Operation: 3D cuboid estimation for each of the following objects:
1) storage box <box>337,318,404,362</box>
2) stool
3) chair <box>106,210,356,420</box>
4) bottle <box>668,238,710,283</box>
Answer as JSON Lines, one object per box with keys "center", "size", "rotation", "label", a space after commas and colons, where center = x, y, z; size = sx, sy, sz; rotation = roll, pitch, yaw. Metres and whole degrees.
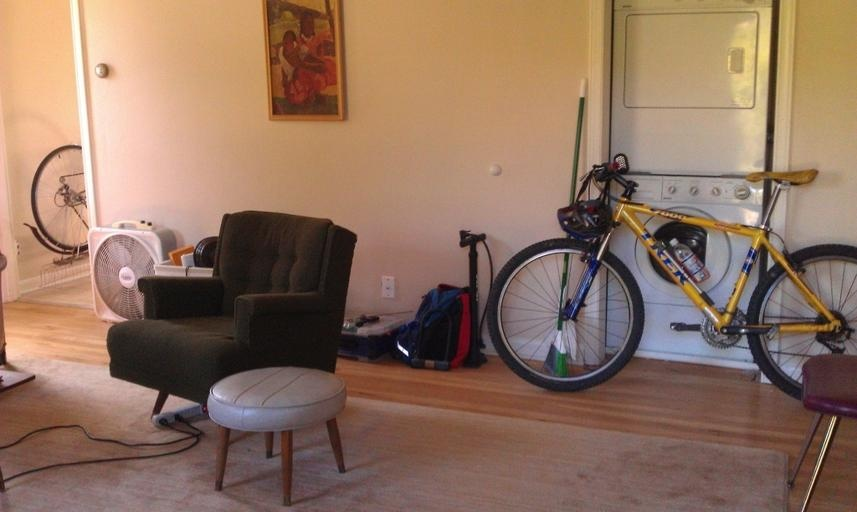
{"center": [-0.472, 0.615, 4.796], "size": [0.350, 0.105, 0.348], "rotation": [4, 9, 30], "label": "storage box"}
{"center": [-0.717, 0.914, 3.584], "size": [0.783, 0.575, 0.768], "rotation": [1, 8, 8], "label": "stool"}
{"center": [-1.264, 0.308, 4.324], "size": [1.334, 1.437, 1.567], "rotation": [4, 4, 39], "label": "chair"}
{"center": [1.799, 0.018, 4.409], "size": [0.192, 0.378, 0.091], "rotation": [-44, -1, 5], "label": "bottle"}
